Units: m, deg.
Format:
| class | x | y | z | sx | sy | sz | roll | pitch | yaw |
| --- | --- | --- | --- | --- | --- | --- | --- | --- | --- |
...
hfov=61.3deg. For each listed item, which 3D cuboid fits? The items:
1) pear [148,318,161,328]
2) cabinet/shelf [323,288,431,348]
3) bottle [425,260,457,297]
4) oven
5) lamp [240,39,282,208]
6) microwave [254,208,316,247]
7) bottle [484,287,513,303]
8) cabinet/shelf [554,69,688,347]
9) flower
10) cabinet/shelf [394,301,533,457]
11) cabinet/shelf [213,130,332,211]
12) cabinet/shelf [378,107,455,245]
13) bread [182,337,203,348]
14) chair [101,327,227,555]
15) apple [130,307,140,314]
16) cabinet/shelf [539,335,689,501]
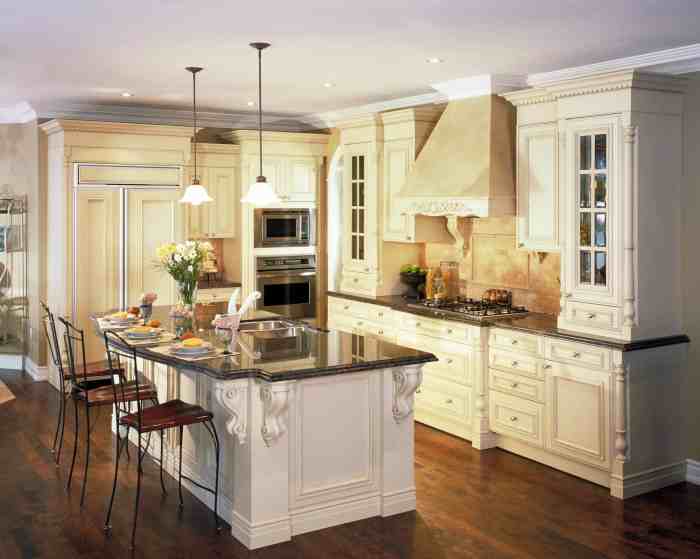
| class | x | y | z | sx | sy | sz | roll | pitch | yaw |
| --- | --- | --- | --- | --- | --- | --- | --- | --- | --- |
| pear | -1.471 | 0.323 | 4.458 | 0.091 | 0.070 | 0.075 | 9 | -31 | -46 |
| cabinet/shelf | 0.325 | 0.568 | 6.636 | 0.419 | 0.735 | 1.413 | -3 | 5 | -32 |
| bottle | 1.000 | -0.005 | 6.497 | 0.244 | 0.408 | 0.350 | -3 | 7 | -25 |
| oven | -1.013 | 0.104 | 7.978 | 0.989 | 0.826 | 0.686 | -3 | 4 | -39 |
| lamp | -0.668 | -1.177 | 4.536 | 0.442 | 1.159 | 0.395 | -4 | 19 | -15 |
| microwave | -1.005 | -0.694 | 7.916 | 0.983 | 0.498 | 0.526 | -5 | 8 | -38 |
| bottle | 1.495 | 0.160 | 5.880 | 0.209 | 0.082 | 0.156 | -2 | 3 | -35 |
| cabinet/shelf | 2.078 | -0.539 | 4.647 | 0.675 | 1.875 | 0.943 | -5 | 6 | -17 |
| flower | -1.320 | -0.008 | 5.066 | 0.528 | 0.496 | 0.552 | 6 | -11 | -32 |
| cabinet/shelf | 1.080 | 0.883 | 5.786 | 0.666 | 1.078 | 1.314 | 0 | 1 | -26 |
| cabinet/shelf | -0.967 | -1.385 | 7.850 | 1.357 | 1.056 | 0.503 | -9 | 16 | -40 |
| cabinet/shelf | 0.727 | -1.101 | 6.307 | 0.646 | 1.414 | 0.556 | -2 | 7 | -19 |
| bread | -0.991 | 0.395 | 3.733 | 0.075 | 0.027 | 0.073 | -4 | 7 | -35 |
| chair | -1.492 | 0.936 | 4.411 | 0.728 | 1.234 | 2.007 | -3 | 7 | -25 |
| apple | -1.823 | 0.257 | 5.001 | 0.094 | 0.058 | 0.065 | 13 | -1 | -27 |
| cabinet/shelf | 2.245 | 1.022 | 4.418 | 0.762 | 1.091 | 0.202 | -3 | 8 | -28 |
